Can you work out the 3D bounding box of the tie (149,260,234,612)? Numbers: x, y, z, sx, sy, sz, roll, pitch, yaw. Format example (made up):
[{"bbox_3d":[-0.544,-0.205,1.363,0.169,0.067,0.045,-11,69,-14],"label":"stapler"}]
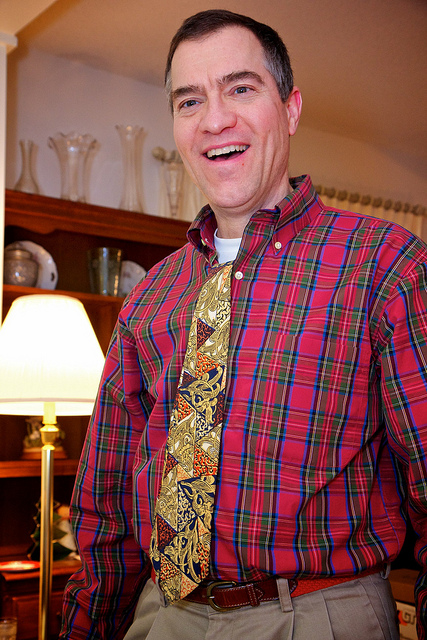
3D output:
[{"bbox_3d":[-0.029,0.140,0.781,0.085,0.446,0.199,4,5,1],"label":"tie"}]

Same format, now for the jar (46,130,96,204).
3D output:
[{"bbox_3d":[-0.660,-0.693,2.619,0.202,0.308,0.188,13,32,-8],"label":"jar"}]

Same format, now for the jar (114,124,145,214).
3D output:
[{"bbox_3d":[-0.424,-0.767,2.873,0.107,0.487,0.150,9,15,40],"label":"jar"}]

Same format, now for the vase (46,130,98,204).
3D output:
[{"bbox_3d":[-0.627,-0.701,2.575,0.182,0.371,0.133,-8,11,-43],"label":"vase"}]

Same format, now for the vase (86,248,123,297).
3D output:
[{"bbox_3d":[-0.497,-0.226,2.642,0.088,0.216,0.149,8,10,41],"label":"vase"}]

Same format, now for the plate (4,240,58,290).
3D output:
[{"bbox_3d":[-0.765,-0.246,2.505,0.218,0.206,0.101,-3,11,-33],"label":"plate"}]

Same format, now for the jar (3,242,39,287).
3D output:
[{"bbox_3d":[-0.785,-0.223,2.363,0.066,0.155,0.121,11,11,36],"label":"jar"}]

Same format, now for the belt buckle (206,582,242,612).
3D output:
[{"bbox_3d":[0.015,0.339,0.709,0.042,0.041,0.011,-4,2,7],"label":"belt buckle"}]

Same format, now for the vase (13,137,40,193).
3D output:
[{"bbox_3d":[-0.802,-0.666,2.504,0.100,0.228,0.138,2,5,-15],"label":"vase"}]
